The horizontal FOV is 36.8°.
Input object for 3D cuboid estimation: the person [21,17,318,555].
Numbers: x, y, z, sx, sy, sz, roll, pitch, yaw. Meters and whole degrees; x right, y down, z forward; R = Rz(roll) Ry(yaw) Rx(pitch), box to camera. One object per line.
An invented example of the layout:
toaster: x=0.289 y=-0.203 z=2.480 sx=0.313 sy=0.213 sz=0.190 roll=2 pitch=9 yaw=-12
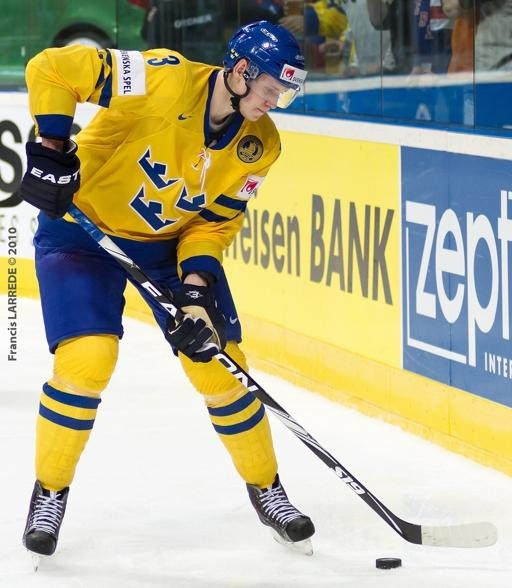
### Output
person: x=-0.255 y=-0.005 z=2.090 sx=0.749 sy=1.411 sz=0.502 roll=-2 pitch=9 yaw=-16

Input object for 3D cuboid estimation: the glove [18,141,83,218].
glove: x=-0.506 y=-0.284 z=1.905 sx=0.141 sy=0.191 sz=0.098 roll=-2 pitch=9 yaw=-16

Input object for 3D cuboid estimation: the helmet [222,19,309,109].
helmet: x=0.019 y=-0.575 z=1.907 sx=0.205 sy=0.205 sz=0.118 roll=2 pitch=9 yaw=8

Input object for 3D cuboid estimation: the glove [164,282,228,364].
glove: x=-0.139 y=0.075 z=2.038 sx=0.163 sy=0.189 sz=0.095 roll=-9 pitch=-8 yaw=44

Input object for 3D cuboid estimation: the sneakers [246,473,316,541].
sneakers: x=0.059 y=0.601 z=2.155 sx=0.079 sy=0.105 sz=0.253 roll=-31 pitch=16 yaw=-7

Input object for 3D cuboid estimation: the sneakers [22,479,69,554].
sneakers: x=-0.542 y=0.600 z=1.998 sx=0.107 sy=0.203 sz=0.192 roll=-1 pitch=9 yaw=-10
